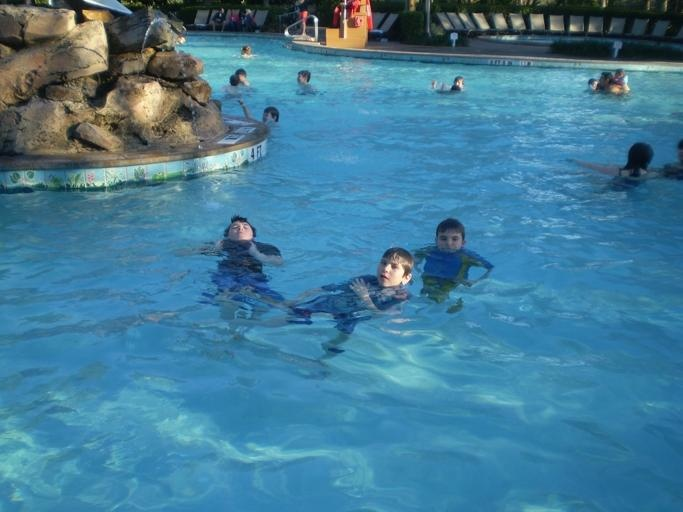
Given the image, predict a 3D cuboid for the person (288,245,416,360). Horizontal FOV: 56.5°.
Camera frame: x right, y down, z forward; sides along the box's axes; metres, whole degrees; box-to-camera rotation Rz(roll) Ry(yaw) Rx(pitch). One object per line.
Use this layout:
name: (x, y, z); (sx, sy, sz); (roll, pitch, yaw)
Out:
person: (0.235, 0.410, 6.117); (1.431, 0.460, 0.818); (-27, 55, -20)

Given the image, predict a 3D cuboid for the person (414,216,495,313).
person: (1.095, 0.003, 6.639); (0.830, 0.772, 0.579); (-14, 26, -39)
